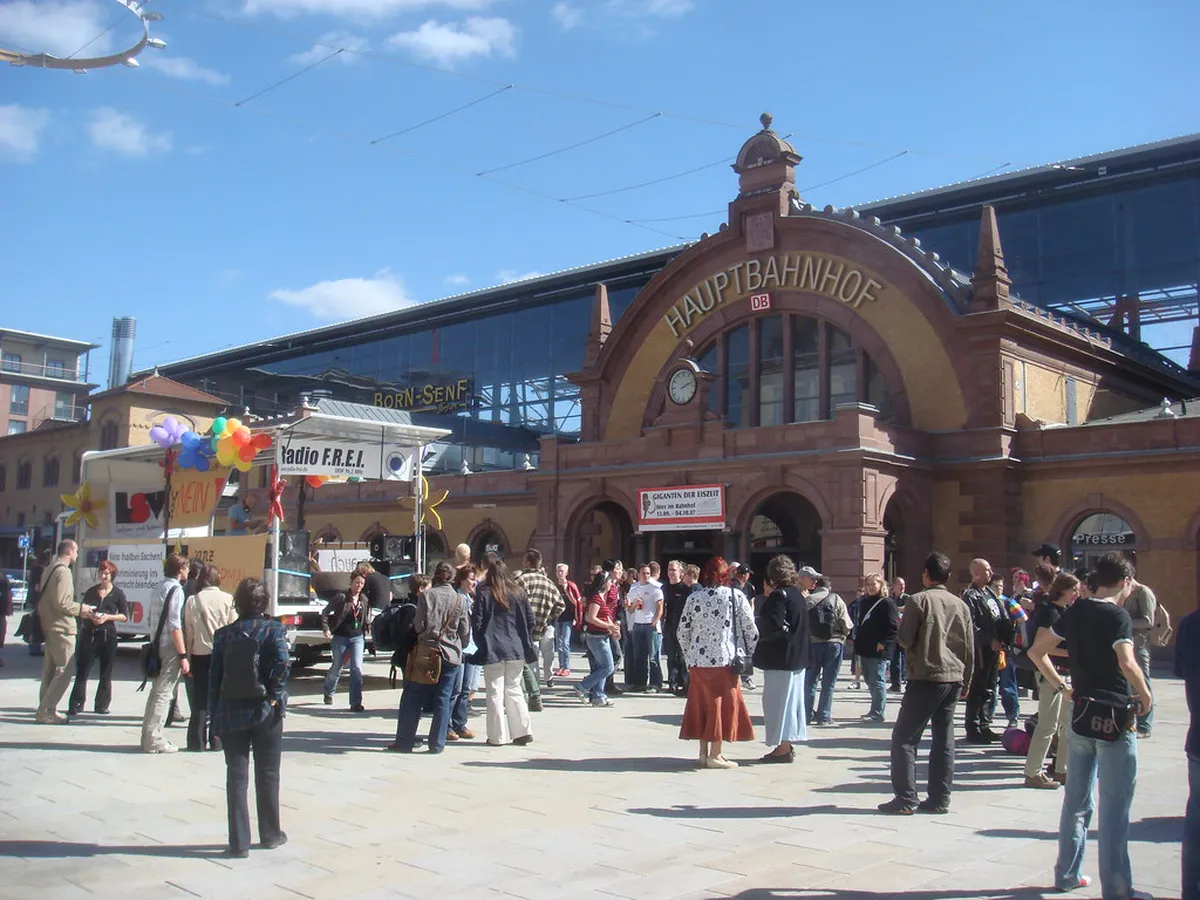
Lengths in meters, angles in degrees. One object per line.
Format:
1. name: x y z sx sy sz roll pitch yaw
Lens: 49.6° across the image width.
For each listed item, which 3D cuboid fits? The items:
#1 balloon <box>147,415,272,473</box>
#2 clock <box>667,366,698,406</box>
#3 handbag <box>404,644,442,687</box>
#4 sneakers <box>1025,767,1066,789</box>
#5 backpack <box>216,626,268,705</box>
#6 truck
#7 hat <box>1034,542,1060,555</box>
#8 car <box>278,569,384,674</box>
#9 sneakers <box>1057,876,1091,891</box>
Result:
1. balloon: -6.156 -0.038 21.140 1.770 1.075 0.726 6 -23 39
2. clock: 2.192 -1.694 34.421 0.130 0.926 0.929 9 -15 -38
3. handbag: -2.258 2.759 16.675 0.520 0.564 0.223 2 -14 -5
4. sneakers: 5.049 3.728 14.819 0.516 0.214 0.162 -2 -2 -12
5. backpack: -3.434 2.099 12.502 0.650 0.859 0.359 -3 -8 5
6. truck: -6.974 1.238 24.403 7.509 4.103 3.955 0 -3 33
7. hat: 5.995 1.334 17.463 0.300 0.190 0.461 1 -4 9
8. car: -5.145 3.045 24.293 1.798 1.853 3.077 6 -9 -12
9. sneakers: 4.217 3.802 11.489 0.443 0.107 0.104 1 -2 -31
